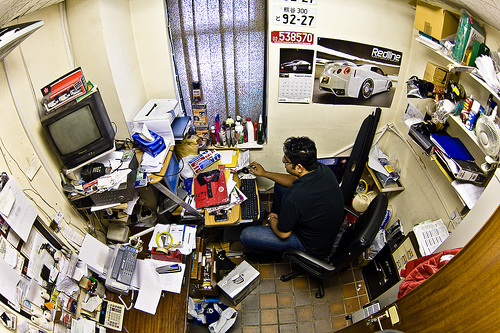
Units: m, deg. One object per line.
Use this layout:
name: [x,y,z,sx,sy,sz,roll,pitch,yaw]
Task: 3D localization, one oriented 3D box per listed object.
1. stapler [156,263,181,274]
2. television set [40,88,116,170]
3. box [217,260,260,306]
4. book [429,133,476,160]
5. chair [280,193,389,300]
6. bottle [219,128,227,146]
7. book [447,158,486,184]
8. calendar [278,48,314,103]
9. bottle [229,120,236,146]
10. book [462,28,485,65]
stapler: [-0.713,0.904,2.812,0.238,0.088,0.081,-1,79,-1]
television set: [-1.371,-0.348,2.741,0.557,0.595,0.590,-25,47,-19]
box: [-0.087,1.250,3.335,0.490,0.381,0.217,-25,39,-28]
book: [1.744,-0.175,2.737,0.254,0.092,0.286,-2,35,2]
chair: [0.790,0.785,3.190,0.911,1.289,0.674,0,34,6]
bottle: [-0.323,-0.350,3.745,0.080,0.223,0.036,-9,34,-8]
book: [1.771,0.052,2.608,0.196,0.073,0.207,19,42,-3]
calendar: [0.503,-0.990,3.441,0.371,0.585,0.050,-2,34,2]
bottle: [-0.219,-0.380,3.768,0.032,0.279,0.100,23,42,34]
book: [1.701,-0.945,2.423,0.049,0.213,0.205,7,19,16]
